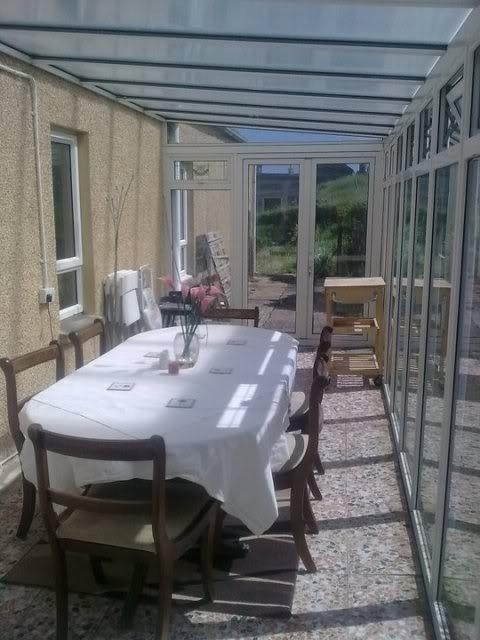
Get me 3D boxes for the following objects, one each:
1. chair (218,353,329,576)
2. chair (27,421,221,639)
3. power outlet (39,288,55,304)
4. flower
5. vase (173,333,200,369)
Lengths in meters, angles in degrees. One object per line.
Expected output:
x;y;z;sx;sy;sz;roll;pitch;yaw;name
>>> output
0.206;0.580;2.633;0.586;1.473;0.671;4;9;11;chair
-0.370;0.698;1.654;0.495;0.844;0.634;1;5;15;chair
-1.445;-0.177;3.653;0.066;0.126;0.195;0;5;3;power outlet
-0.379;-0.048;3.759;0.446;0.653;0.713;2;-32;-10;flower
-0.279;0.147;2.607;0.117;0.265;0.150;1;7;7;vase
